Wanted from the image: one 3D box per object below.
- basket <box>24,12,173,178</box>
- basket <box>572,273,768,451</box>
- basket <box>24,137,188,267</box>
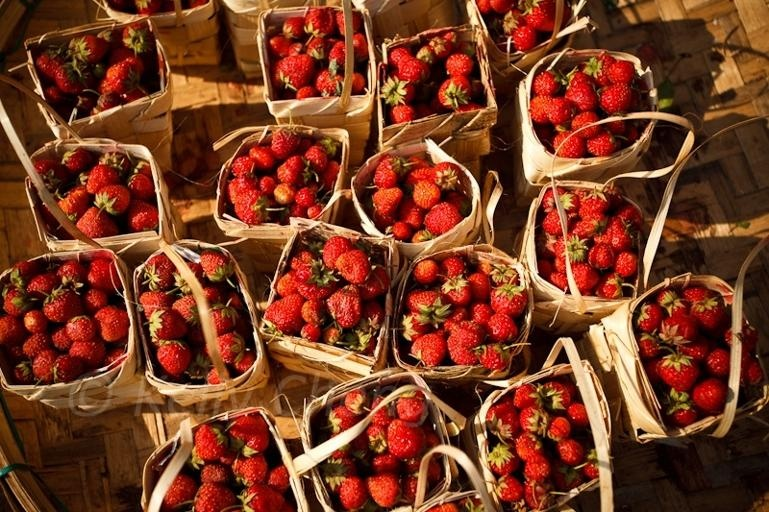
[{"bbox_3d":[-1.418,-0.887,3.871,0.660,0.727,0.843,-12,7,-9],"label":"basket"},{"bbox_3d":[1.393,0.626,3.485,0.665,0.953,0.441,-8,-9,10],"label":"basket"},{"bbox_3d":[-1.446,-0.301,3.623,0.731,0.636,0.571,-5,5,-15],"label":"basket"}]
